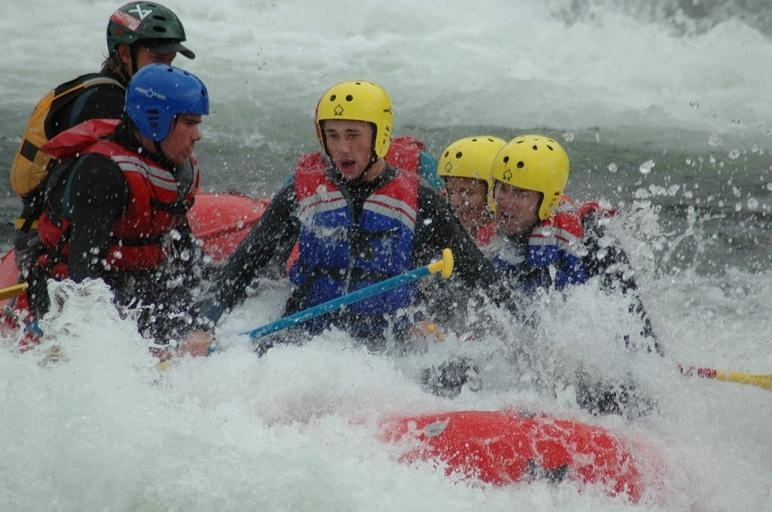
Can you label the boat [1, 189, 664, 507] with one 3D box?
[{"bbox_3d":[-0.419,0.552,7.933,5.030,1.501,2.612,11,0,7],"label":"boat"}]
